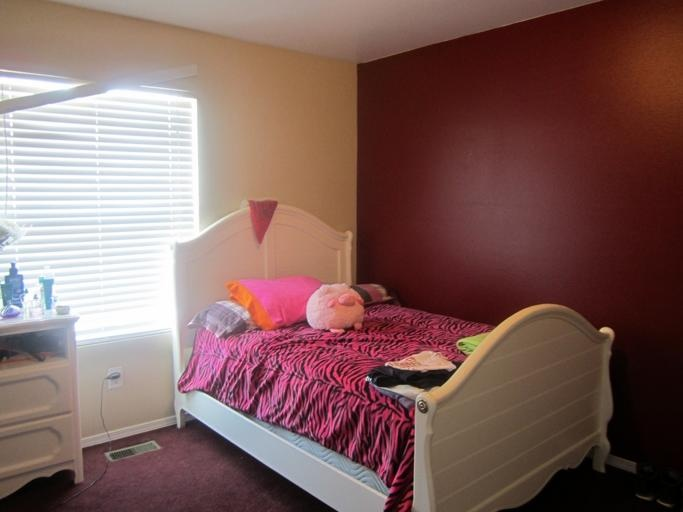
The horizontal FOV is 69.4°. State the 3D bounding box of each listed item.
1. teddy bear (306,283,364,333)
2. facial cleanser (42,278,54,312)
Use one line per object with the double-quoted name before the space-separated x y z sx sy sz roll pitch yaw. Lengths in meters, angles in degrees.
"teddy bear" -0.031 0.350 3.352 0.296 0.230 0.300 -6 -7 39
"facial cleanser" -1.828 0.231 3.078 0.059 0.197 0.076 8 13 43
